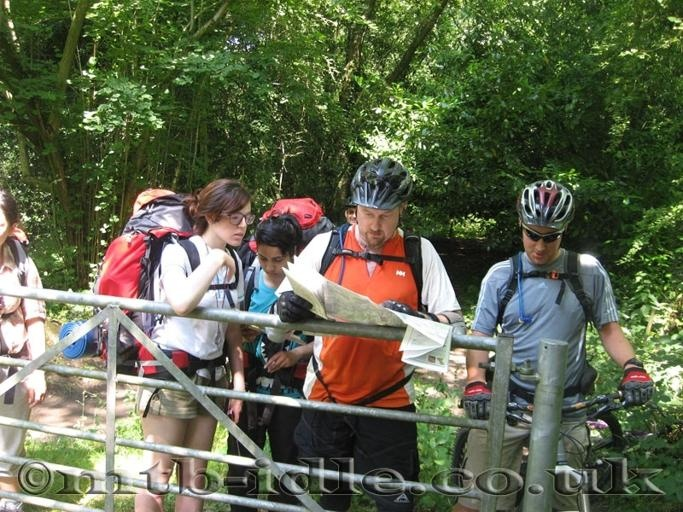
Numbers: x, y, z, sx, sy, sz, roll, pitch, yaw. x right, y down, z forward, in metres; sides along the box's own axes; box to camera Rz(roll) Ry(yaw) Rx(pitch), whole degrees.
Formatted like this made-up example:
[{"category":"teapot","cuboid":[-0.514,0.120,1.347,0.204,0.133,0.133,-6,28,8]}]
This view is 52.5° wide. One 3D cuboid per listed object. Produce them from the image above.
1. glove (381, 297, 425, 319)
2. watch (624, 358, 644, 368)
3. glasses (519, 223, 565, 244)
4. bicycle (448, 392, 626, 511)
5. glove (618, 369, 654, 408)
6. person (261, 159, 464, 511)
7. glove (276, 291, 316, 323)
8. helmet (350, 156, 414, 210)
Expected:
[{"category":"glove","cuboid":[0.406,0.342,4.537,0.190,0.059,0.139,25,2,24]},{"category":"watch","cuboid":[2.136,0.775,5.015,0.112,0.074,0.106,7,-35,-7]},{"category":"glasses","cuboid":[1.543,-0.166,5.250,0.303,0.142,0.123,5,-12,10]},{"category":"bicycle","cuboid":[1.542,1.310,5.317,1.362,0.886,0.852,-2,20,-4]},{"category":"glove","cuboid":[2.066,0.909,4.805,0.193,0.262,0.132,-2,-2,8]},{"category":"person","cuboid":[0.219,0.535,4.942,1.170,2.605,0.988,6,-12,3]},{"category":"glove","cuboid":[-0.299,0.334,4.510,0.215,0.103,0.176,34,22,3]},{"category":"helmet","cuboid":[0.303,-0.541,5.024,0.435,0.477,0.266,7,-12,0]}]
